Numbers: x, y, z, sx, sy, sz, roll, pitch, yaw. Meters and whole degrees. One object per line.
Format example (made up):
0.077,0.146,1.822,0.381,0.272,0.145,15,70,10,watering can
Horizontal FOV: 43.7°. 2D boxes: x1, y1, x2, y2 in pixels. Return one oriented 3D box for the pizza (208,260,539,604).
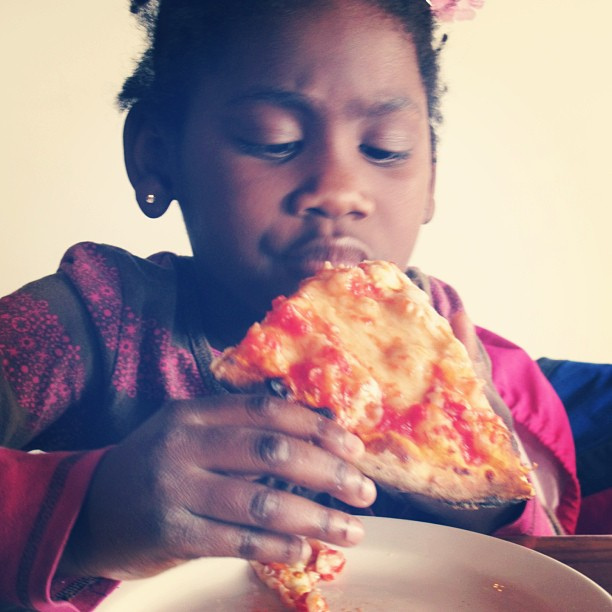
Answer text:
0.093,0.105,1.062,0.375,0.289,0.212,-7,5,19,pizza
